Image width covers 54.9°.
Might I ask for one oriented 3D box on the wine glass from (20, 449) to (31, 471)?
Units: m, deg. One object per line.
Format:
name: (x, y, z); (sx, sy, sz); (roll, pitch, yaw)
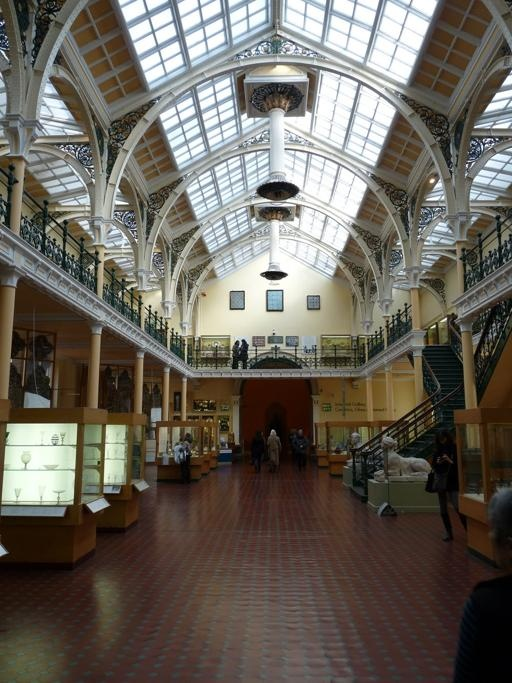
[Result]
wine glass: (-3.211, 1.645, 6.859); (0.147, 0.258, 0.087); (5, -12, -21)

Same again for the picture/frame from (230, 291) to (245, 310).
picture/frame: (-1.451, -3.193, 37.898); (1.329, 1.608, 0.119); (0, -13, -2)

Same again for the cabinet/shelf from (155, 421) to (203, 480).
cabinet/shelf: (-3.320, 4.447, 20.335); (2.231, 3.051, 2.265); (1, -7, -5)

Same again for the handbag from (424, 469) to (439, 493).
handbag: (3.010, 2.418, 8.442); (0.132, 0.457, 0.270); (4, -1, 3)

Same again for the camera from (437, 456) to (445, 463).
camera: (3.150, 2.016, 8.400); (0.093, 0.026, 0.098); (-46, -28, 14)

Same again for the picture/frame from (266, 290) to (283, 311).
picture/frame: (1.404, -3.166, 37.827); (1.618, 1.962, 0.148); (1, -15, -4)

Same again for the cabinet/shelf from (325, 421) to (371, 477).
cabinet/shelf: (3.525, 4.045, 18.714); (2.234, 2.372, 1.704); (-2, -12, 13)
